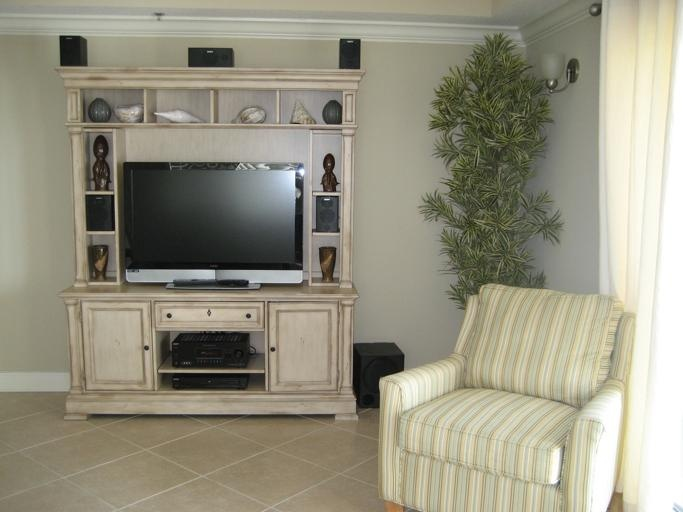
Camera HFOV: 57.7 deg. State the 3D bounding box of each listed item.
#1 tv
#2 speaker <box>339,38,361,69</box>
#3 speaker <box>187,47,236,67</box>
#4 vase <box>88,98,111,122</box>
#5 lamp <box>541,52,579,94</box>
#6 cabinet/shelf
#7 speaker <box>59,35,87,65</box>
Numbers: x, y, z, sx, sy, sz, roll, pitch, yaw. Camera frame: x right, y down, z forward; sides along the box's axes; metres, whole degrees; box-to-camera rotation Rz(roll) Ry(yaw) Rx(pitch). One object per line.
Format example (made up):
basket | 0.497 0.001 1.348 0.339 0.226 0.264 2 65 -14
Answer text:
tv | -1.001 -0.258 4.772 1.094 0.694 0.071 0 5 2
speaker | 0.063 -1.492 4.575 0.151 0.224 0.190 0 14 -1
speaker | -0.968 -1.479 4.600 0.315 0.127 0.058 0 15 -2
vase | -1.841 -1.120 4.731 0.175 0.191 0.265 -5 15 -22
lamp | 1.581 -1.337 4.491 0.281 0.320 0.218 0 1 -15
cabinet/shelf | -1.008 -0.094 4.710 3.036 3.046 0.890 0 2 -2
speaker | -1.986 -1.527 4.596 0.184 0.250 0.313 -5 15 -21
